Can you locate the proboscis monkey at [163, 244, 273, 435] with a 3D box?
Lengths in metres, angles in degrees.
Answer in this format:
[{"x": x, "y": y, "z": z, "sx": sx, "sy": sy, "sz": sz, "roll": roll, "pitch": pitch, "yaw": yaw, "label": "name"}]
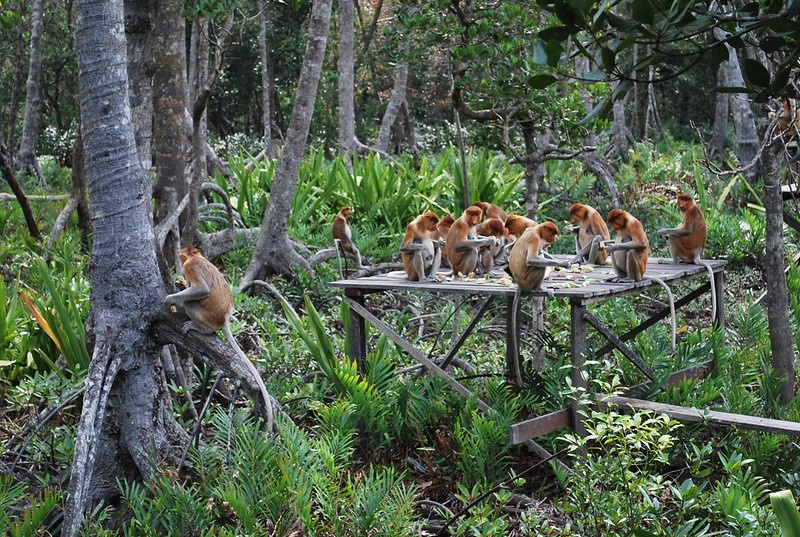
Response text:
[{"x": -1.634, "y": 0.700, "z": 6.375, "sx": 0.598, "sy": 1.593, "sz": 0.520, "roll": -33, "pitch": 9, "yaw": 32, "label": "proboscis monkey"}]
